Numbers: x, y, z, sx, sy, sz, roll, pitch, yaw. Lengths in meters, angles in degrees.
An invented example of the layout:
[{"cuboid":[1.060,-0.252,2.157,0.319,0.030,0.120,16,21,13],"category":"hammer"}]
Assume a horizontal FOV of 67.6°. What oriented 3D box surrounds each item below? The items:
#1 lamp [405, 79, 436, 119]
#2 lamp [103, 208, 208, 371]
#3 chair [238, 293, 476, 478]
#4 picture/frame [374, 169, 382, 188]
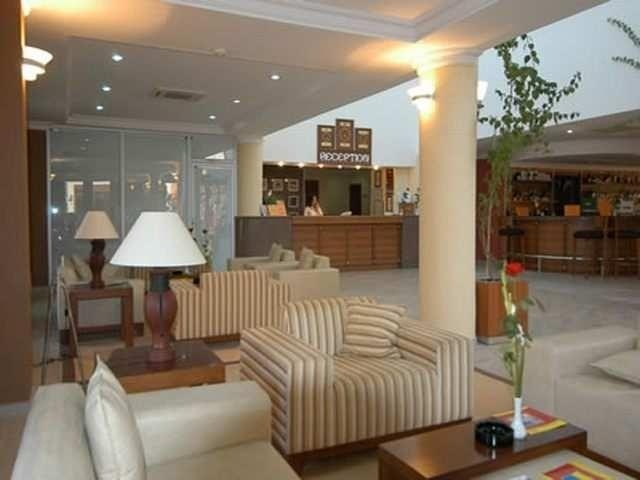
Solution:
[{"cuboid":[1.105,-1.600,5.355,0.252,0.455,0.315,-2,4,-14],"category":"lamp"},{"cuboid":[-1.066,0.316,3.186,0.590,1.006,0.563,-2,4,-14],"category":"lamp"},{"cuboid":[0.190,0.937,3.492,1.305,0.876,0.971,1,-3,-28],"category":"chair"},{"cuboid":[1.975,-2.098,16.243,0.255,0.598,0.144,0,4,8],"category":"picture/frame"}]
